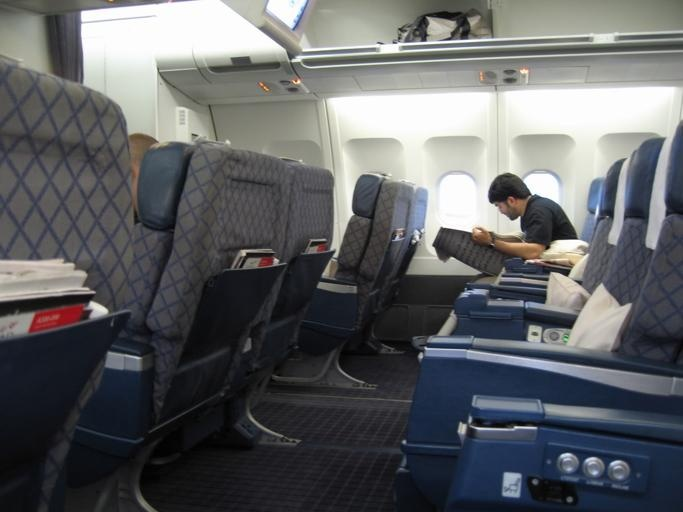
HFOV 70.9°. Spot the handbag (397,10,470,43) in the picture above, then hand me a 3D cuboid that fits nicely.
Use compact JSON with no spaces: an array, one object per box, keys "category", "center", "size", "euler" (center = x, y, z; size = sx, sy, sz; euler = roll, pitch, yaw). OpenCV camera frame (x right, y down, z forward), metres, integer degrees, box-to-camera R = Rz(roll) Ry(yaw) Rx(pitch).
[{"category":"handbag","center":[0.943,-2.243,4.810],"size":[0.581,0.214,0.431],"euler":[0,14,24]}]

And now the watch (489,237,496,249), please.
[{"category":"watch","center":[1.501,-0.146,4.795],"size":[0.052,0.081,0.082],"euler":[7,1,6]}]
